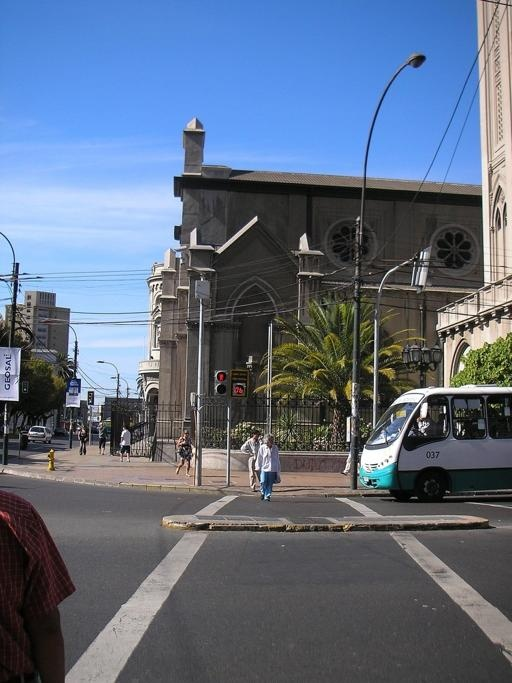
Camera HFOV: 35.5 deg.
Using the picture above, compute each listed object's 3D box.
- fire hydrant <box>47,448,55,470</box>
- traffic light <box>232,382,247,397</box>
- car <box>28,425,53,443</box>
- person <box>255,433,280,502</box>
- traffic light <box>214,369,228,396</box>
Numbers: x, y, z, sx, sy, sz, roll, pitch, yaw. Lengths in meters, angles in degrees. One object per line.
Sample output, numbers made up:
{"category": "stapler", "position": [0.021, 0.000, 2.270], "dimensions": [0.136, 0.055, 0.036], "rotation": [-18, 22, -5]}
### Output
{"category": "fire hydrant", "position": [-6.966, 4.050, 27.190], "dimensions": [0.225, 0.717, 1.128], "rotation": [1, -7, -15]}
{"category": "traffic light", "position": [-0.442, 1.272, 21.206], "dimensions": [0.319, 0.391, 0.035], "rotation": [1, -11, -2]}
{"category": "car", "position": [-17.088, 7.407, 63.243], "dimensions": [1.087, 1.195, 2.099], "rotation": [0, 4, -4]}
{"category": "person", "position": [0.273, 2.973, 18.865], "dimensions": [0.523, 1.481, 1.561], "rotation": [0, -7, 0]}
{"category": "traffic light", "position": [-0.913, 1.090, 21.080], "dimensions": [0.329, 0.667, 0.631], "rotation": [0, -7, -1]}
